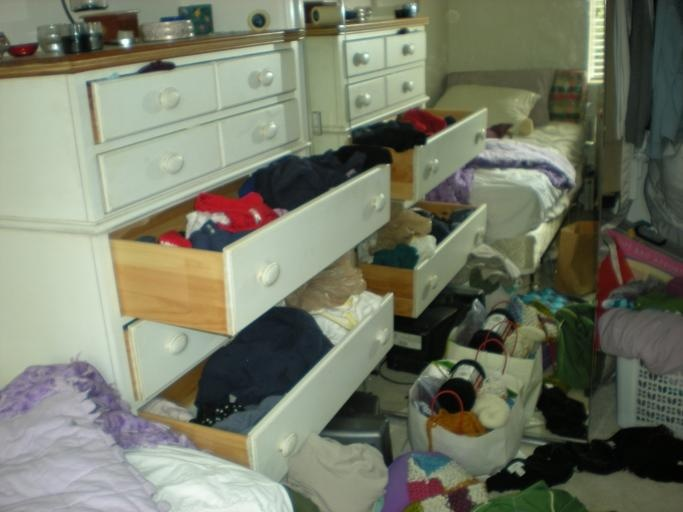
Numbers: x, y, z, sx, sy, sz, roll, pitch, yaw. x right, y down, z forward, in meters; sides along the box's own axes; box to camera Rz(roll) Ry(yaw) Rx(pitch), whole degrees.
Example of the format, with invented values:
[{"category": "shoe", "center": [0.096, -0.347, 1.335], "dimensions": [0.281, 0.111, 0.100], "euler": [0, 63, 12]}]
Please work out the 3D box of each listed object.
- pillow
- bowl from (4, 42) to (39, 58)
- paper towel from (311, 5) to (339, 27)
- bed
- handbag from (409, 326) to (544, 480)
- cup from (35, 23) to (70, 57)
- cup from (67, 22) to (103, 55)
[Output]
[{"category": "pillow", "center": [0.744, -0.712, 2.468], "dimensions": [0.424, 0.265, 0.112], "euler": [20, 37, 35]}, {"category": "bowl", "center": [-0.807, -0.527, 1.533], "dimensions": [0.073, 0.027, 0.087], "euler": [-16, 31, -23]}, {"category": "paper towel", "center": [-0.057, -0.886, 2.212], "dimensions": [0.092, 0.071, 0.081], "euler": [-8, 12, -11]}, {"category": "bed", "center": [0.726, -0.258, 2.528], "dimensions": [0.126, 0.519, 0.525], "euler": [1, 18, -31]}, {"category": "handbag", "center": [0.543, 0.536, 2.332], "dimensions": [0.331, 0.200, 0.562], "euler": [10, 25, 26]}, {"category": "cup", "center": [-0.712, -0.542, 1.496], "dimensions": [0.079, 0.081, 0.085], "euler": [4, 18, -1]}, {"category": "cup", "center": [-0.633, -0.554, 1.519], "dimensions": [0.078, 0.058, 0.077], "euler": [2, 24, -1]}]
